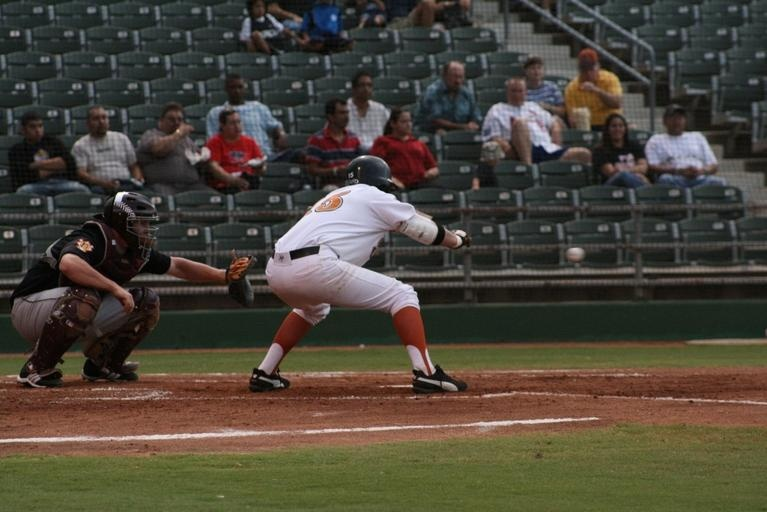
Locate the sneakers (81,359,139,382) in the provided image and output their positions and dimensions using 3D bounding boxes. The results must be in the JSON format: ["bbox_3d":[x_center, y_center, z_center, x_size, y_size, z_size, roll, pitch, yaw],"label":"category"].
[{"bbox_3d":[-3.218,1.320,18.736,0.748,0.238,0.244,0,3,-13],"label":"sneakers"}]

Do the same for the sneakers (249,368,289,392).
[{"bbox_3d":[-1.326,1.399,18.247,0.514,0.162,0.198,-1,0,-34],"label":"sneakers"}]

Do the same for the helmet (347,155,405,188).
[{"bbox_3d":[-0.137,-0.968,18.376,0.586,0.322,0.360,16,-2,-9],"label":"helmet"}]

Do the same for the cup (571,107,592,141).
[{"bbox_3d":[2.879,-1.924,23.275,0.275,0.447,0.389,0,5,3],"label":"cup"}]

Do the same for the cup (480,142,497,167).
[{"bbox_3d":[1.511,-1.465,22.790,0.263,0.338,0.173,0,5,0],"label":"cup"}]

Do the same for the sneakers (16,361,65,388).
[{"bbox_3d":[-3.921,1.352,18.347,0.630,0.222,0.231,1,1,8],"label":"sneakers"}]

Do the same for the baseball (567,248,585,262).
[{"bbox_3d":[2.611,-0.040,21.855,0.263,0.130,0.194,0,0,-11],"label":"baseball"}]
